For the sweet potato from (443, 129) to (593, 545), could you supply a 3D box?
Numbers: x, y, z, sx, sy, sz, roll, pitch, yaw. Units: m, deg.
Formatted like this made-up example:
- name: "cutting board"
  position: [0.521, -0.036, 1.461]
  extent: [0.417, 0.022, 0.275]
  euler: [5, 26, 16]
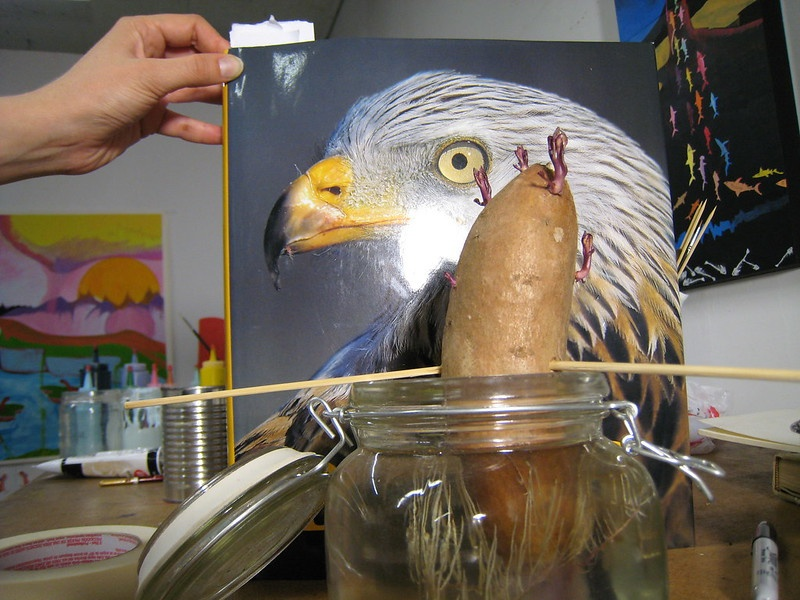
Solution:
- name: "sweet potato"
  position: [0.215, -0.051, 0.870]
  extent: [0.164, 0.153, 0.456]
  euler: [24, 34, 9]

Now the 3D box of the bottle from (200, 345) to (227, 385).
- name: "bottle"
  position: [-0.374, 0.138, 1.431]
  extent: [0.049, 0.093, 0.053]
  euler: [-2, -1, 0]

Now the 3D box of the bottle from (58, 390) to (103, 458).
- name: "bottle"
  position: [-0.702, 0.288, 1.591]
  extent: [0.101, 0.177, 0.103]
  euler: [-7, -18, -2]
